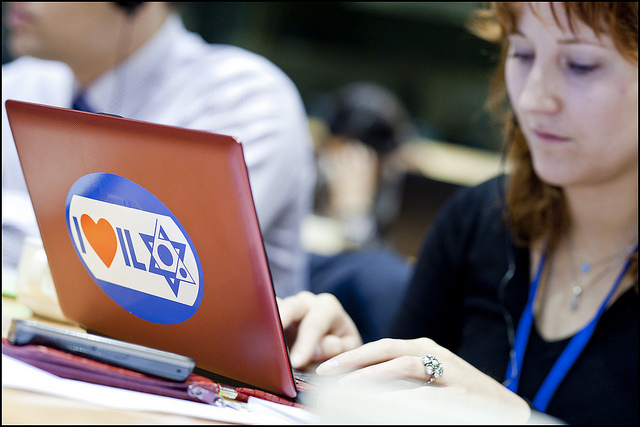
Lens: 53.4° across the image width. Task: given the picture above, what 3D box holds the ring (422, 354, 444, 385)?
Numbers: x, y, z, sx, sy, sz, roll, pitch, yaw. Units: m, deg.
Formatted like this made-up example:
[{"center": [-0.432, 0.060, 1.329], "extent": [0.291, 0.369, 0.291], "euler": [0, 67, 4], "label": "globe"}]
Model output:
[{"center": [0.176, 0.244, 0.991], "extent": [0.032, 0.021, 0.042], "euler": [29, 67, -18], "label": "ring"}]

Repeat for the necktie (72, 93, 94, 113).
[{"center": [-0.675, -0.313, 1.800], "extent": [0.030, 0.050, 0.118], "euler": [-21, 35, -27], "label": "necktie"}]

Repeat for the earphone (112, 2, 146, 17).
[{"center": [-0.501, -0.540, 1.675], "extent": [0.070, 0.043, 0.030], "euler": [3, 31, 10], "label": "earphone"}]
